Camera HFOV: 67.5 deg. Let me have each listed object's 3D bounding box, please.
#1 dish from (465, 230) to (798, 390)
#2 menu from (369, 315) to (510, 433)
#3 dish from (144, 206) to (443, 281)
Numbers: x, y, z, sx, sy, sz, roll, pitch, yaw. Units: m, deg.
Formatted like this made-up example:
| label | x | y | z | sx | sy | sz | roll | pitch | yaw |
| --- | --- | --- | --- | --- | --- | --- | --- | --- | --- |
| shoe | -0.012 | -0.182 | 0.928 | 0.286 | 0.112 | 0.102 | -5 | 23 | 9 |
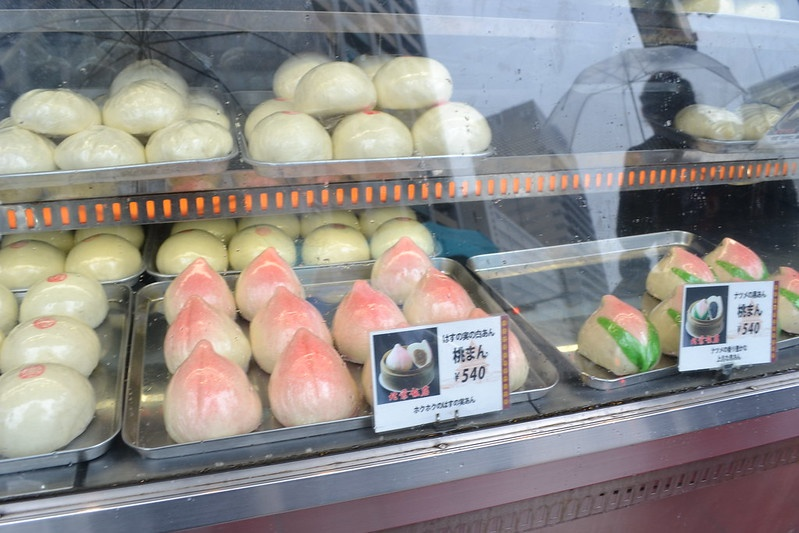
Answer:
| label | x | y | z | sx | sy | sz | roll | pitch | yaw |
| --- | --- | --- | --- | --- | --- | --- | --- | --- | --- |
| dish | 0.579 | 0.137 | 1.780 | 0.594 | 0.036 | 0.545 | -9 | 31 | -17 |
| menu | 0.083 | 0.230 | 1.260 | 0.346 | 0.174 | 0.015 | -6 | 16 | -12 |
| dish | -0.317 | -0.078 | 1.733 | 0.622 | 0.061 | 0.308 | -3 | 22 | -7 |
